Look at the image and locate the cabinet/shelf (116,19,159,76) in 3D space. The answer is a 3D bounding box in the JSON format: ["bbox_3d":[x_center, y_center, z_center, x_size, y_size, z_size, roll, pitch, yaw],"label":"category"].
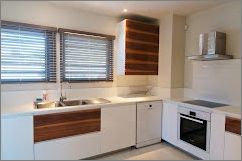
[{"bbox_3d":[0.429,-0.805,4.536,1.045,1.347,0.419,-4,6,-30],"label":"cabinet/shelf"}]

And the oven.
[{"bbox_3d":[1.653,1.029,3.977,0.810,0.978,0.846,2,-1,-29],"label":"oven"}]

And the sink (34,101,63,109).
[{"bbox_3d":[-1.506,0.529,3.722,0.614,0.142,0.342,-3,5,-21],"label":"sink"}]

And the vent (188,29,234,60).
[{"bbox_3d":[2.011,-0.779,3.918,0.702,0.474,0.744,-3,6,-27],"label":"vent"}]

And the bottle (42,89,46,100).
[{"bbox_3d":[-1.671,0.324,3.853,0.079,0.231,0.098,-3,6,-12],"label":"bottle"}]

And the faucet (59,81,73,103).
[{"bbox_3d":[-1.246,0.254,3.918,0.294,0.448,0.370,-3,5,-15],"label":"faucet"}]
